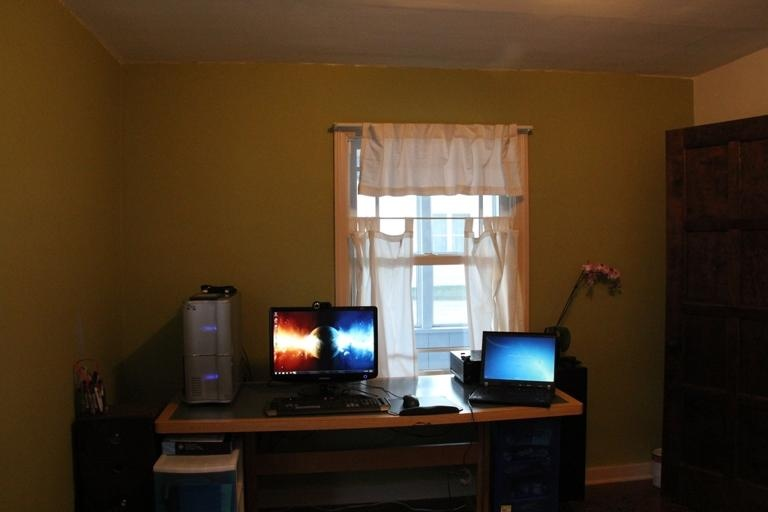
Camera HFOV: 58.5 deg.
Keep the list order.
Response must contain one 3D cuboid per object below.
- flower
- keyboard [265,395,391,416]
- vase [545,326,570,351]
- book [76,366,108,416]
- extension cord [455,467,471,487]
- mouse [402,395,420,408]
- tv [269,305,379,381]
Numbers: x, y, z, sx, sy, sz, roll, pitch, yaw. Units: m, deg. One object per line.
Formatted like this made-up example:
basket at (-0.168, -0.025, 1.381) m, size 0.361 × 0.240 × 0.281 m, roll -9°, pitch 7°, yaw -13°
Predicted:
flower at (1.624, 0.317, 5.386) m, size 0.362 × 0.617 × 0.262 m, roll 26°, pitch 3°, yaw 21°
keyboard at (-0.383, 1.000, 4.641) m, size 0.819 × 0.089 × 0.273 m, roll 0°, pitch 1°, yaw -4°
vase at (1.316, 0.595, 5.099) m, size 0.199 × 0.240 × 0.157 m, roll -1°, pitch 3°, yaw -6°
book at (-1.945, 0.890, 4.523) m, size 0.172 × 0.326 × 0.093 m, roll -3°, pitch -2°, yaw -30°
extension cord at (0.611, 1.706, 5.303) m, size 0.143 × 0.148 × 0.045 m, roll 3°, pitch -4°, yaw 8°
mouse at (0.172, 0.975, 4.622) m, size 0.063 × 0.042 × 0.112 m, roll 2°, pitch 1°, yaw -6°
tv at (-0.444, 0.617, 4.809) m, size 0.494 × 0.401 × 0.067 m, roll 0°, pitch -4°, yaw -3°
